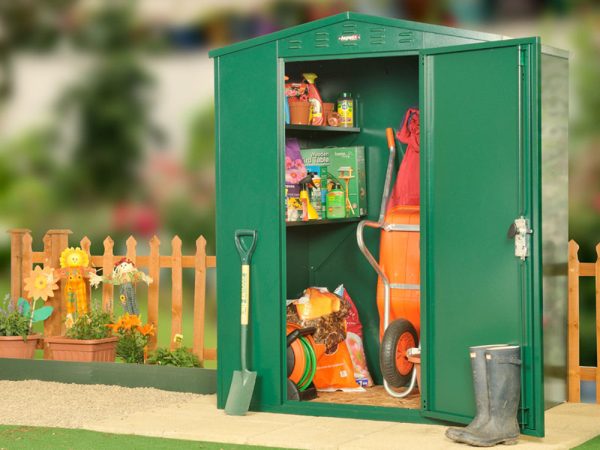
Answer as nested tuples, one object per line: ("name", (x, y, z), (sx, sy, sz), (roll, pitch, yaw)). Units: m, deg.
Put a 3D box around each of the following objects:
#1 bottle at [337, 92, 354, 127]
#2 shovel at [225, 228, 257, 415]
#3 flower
("bottle", (0.424, -1.075, 8.385), (0.140, 0.328, 0.078), (0, -3, -16))
("shovel", (-0.503, 0.826, 7.677), (0.264, 1.587, 0.175), (-1, -3, 19))
("flower", (-1.527, 1.149, 8.983), (1.043, 0.508, 0.558), (-2, -3, 28))
